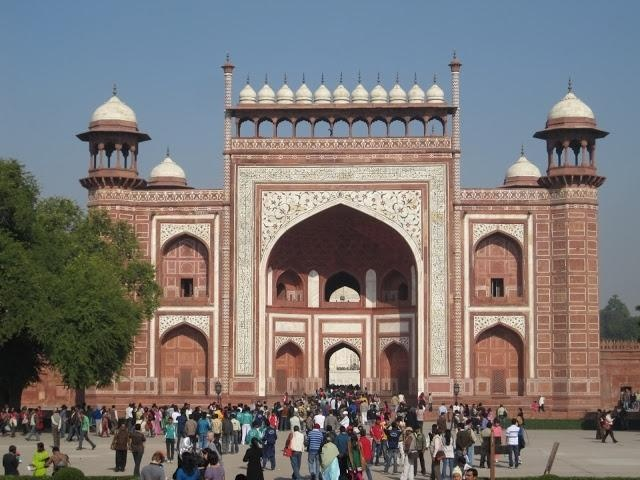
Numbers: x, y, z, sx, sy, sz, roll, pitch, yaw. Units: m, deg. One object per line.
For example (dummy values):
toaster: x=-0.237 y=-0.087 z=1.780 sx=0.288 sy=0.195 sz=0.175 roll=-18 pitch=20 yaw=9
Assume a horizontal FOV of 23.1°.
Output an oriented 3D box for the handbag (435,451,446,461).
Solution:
handbag: x=3.534 y=6.242 z=45.373 sx=0.424 sy=0.399 sz=0.221 roll=-1 pitch=-12 yaw=6

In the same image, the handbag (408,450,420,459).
handbag: x=2.784 y=6.212 z=45.389 sx=0.256 sy=0.278 sz=0.474 roll=-5 pitch=-11 yaw=20
